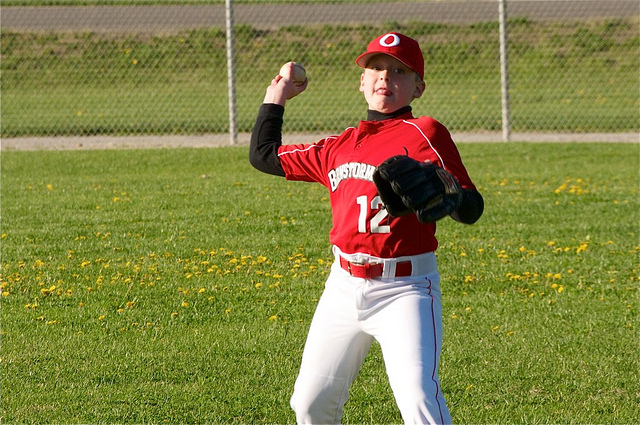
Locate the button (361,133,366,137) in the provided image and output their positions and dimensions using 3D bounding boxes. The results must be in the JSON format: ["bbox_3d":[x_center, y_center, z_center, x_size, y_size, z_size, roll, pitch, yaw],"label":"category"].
[{"bbox_3d":[0.624,-1.085,17.683,0.054,0.053,0.013,-2,-3,8],"label":"button"}]

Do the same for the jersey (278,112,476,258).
[{"bbox_3d":[0.699,-0.261,17.949,3.222,2.131,1.133,-5,-13,28],"label":"jersey"}]
